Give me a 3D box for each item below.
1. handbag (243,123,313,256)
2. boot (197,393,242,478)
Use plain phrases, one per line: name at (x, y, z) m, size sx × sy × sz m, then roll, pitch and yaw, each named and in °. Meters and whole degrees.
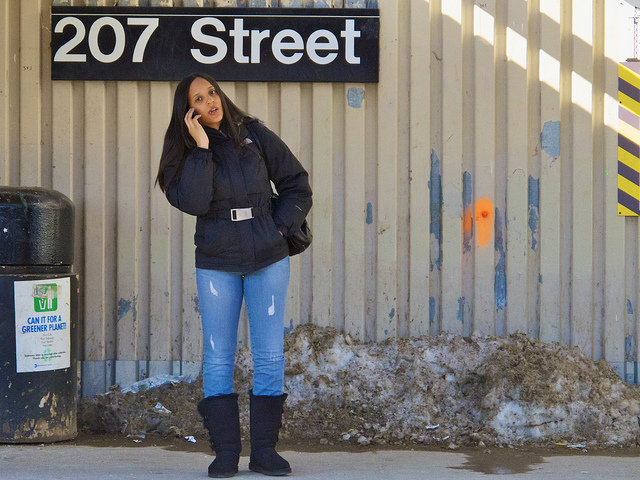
handbag at (-0.333, -0.344, 11.382) m, size 0.154 × 1.344 × 0.491 m, roll -18°, pitch 19°, yaw 8°
boot at (-0.699, 1.411, 11.189) m, size 0.330 × 0.670 × 0.463 m, roll -4°, pitch -5°, yaw 8°
